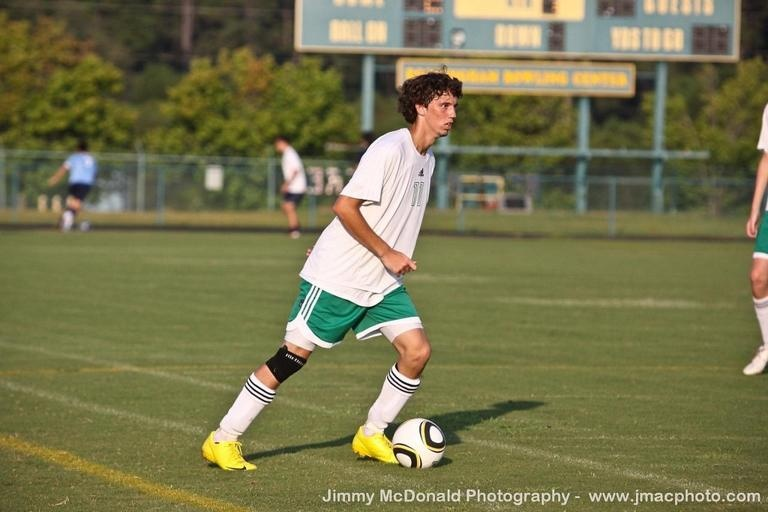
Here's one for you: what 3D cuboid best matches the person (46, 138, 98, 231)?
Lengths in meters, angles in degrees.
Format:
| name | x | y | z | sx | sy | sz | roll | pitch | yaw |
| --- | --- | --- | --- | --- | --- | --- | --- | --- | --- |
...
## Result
| name | x | y | z | sx | sy | sz | roll | pitch | yaw |
| --- | --- | --- | --- | --- | --- | --- | --- | --- | --- |
| person | -3.221 | -0.645 | 16.821 | 0.524 | 0.833 | 0.318 | 2 | 3 | 7 |

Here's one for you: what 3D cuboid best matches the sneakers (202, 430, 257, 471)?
| name | x | y | z | sx | sy | sz | roll | pitch | yaw |
| --- | --- | --- | --- | --- | --- | --- | --- | --- | --- |
| sneakers | -1.459 | 1.853 | 15.120 | 0.623 | 0.283 | 0.237 | 23 | 3 | 15 |
